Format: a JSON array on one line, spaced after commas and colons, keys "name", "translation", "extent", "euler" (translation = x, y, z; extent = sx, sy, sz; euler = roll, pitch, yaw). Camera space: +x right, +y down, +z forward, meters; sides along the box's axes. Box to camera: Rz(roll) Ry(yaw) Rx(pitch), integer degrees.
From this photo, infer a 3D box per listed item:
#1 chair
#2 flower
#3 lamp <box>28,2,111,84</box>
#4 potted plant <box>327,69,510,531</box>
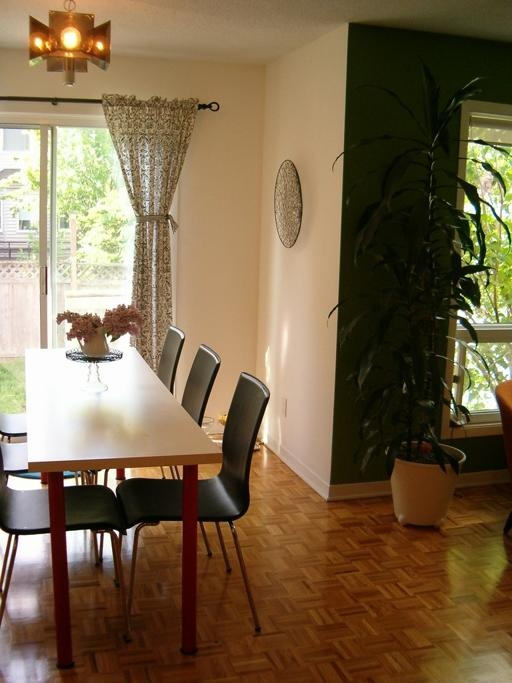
[{"name": "chair", "translation": [-0.372, 0.453, 1.967], "extent": [0.970, 0.757, 0.865], "euler": [-2, 15, -14]}, {"name": "flower", "translation": [-0.669, -0.054, 2.351], "extent": [0.301, 0.199, 0.279], "euler": [-3, 7, -2]}, {"name": "lamp", "translation": [-0.691, -1.043, 2.001], "extent": [0.257, 0.207, 0.383], "euler": [1, 3, -22]}, {"name": "potted plant", "translation": [0.841, -0.253, 2.716], "extent": [0.908, 2.364, 1.103], "euler": [2, 3, 13]}]
